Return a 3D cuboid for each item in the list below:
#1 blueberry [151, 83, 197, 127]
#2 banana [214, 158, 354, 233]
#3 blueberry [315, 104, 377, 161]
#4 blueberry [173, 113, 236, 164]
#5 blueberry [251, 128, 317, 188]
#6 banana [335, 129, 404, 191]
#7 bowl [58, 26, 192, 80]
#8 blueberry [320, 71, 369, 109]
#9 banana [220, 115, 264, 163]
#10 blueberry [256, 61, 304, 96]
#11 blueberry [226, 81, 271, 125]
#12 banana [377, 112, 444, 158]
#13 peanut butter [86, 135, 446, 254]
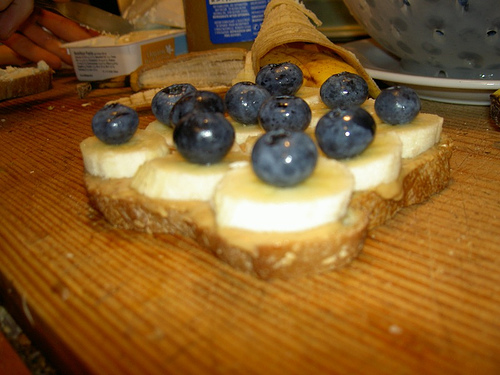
[{"bbox_3d":[-0.175,-0.197,0.888,0.096,0.093,0.076,22,28,38],"label":"blueberry"},{"bbox_3d":[0.055,0.013,0.608,0.224,0.070,0.109,-2,35,0],"label":"banana"},{"bbox_3d":[0.174,-0.102,0.700,0.114,0.092,0.084,22,26,26],"label":"blueberry"},{"bbox_3d":[-0.080,-0.086,0.679,0.099,0.085,0.071,27,31,37],"label":"blueberry"},{"bbox_3d":[0.054,-0.030,0.558,0.086,0.048,0.091,-12,67,-1],"label":"blueberry"},{"bbox_3d":[0.224,-0.045,0.661,0.107,0.038,0.113,1,28,25],"label":"banana"},{"bbox_3d":[-0.509,-0.588,1.574,0.303,0.153,0.468,11,30,38],"label":"bowl"},{"bbox_3d":[0.215,-0.217,0.843,0.116,0.070,0.095,-31,44,-34],"label":"blueberry"},{"bbox_3d":[-0.018,-0.093,0.751,0.091,0.022,0.092,21,37,38],"label":"banana"},{"bbox_3d":[0.072,-0.273,0.886,0.089,0.086,0.065,2,23,6],"label":"blueberry"},{"bbox_3d":[-0.004,-0.191,0.832,0.114,0.090,0.124,11,32,8],"label":"blueberry"},{"bbox_3d":[0.341,-0.111,0.767,0.103,0.027,0.110,-10,19,5],"label":"banana"},{"bbox_3d":[0.052,-0.117,0.735,0.548,0.223,0.396,5,27,20],"label":"peanut butter"}]
